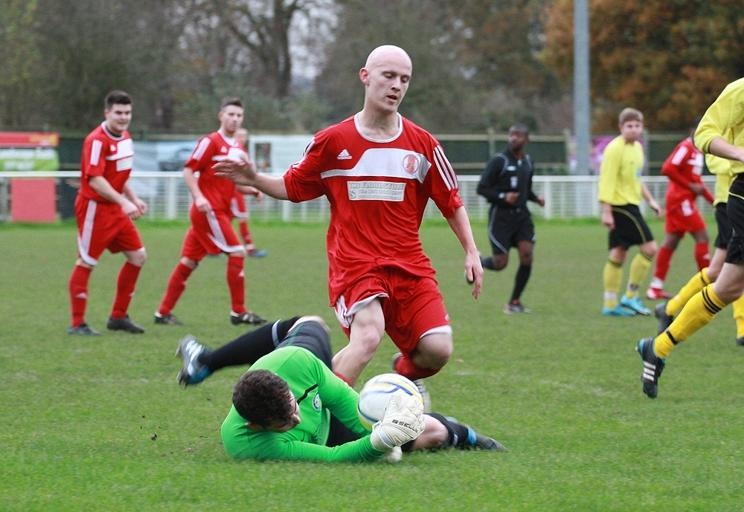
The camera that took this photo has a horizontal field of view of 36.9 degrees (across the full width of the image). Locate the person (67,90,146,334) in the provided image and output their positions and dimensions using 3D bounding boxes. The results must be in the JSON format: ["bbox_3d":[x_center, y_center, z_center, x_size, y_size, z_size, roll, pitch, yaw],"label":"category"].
[{"bbox_3d":[-3.359,-0.607,14.420,1.028,3.272,0.988,-3,19,-27],"label":"person"}]

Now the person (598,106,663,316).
[{"bbox_3d":[3.611,-0.604,15.784,0.999,2.894,0.732,2,-5,-24],"label":"person"}]
